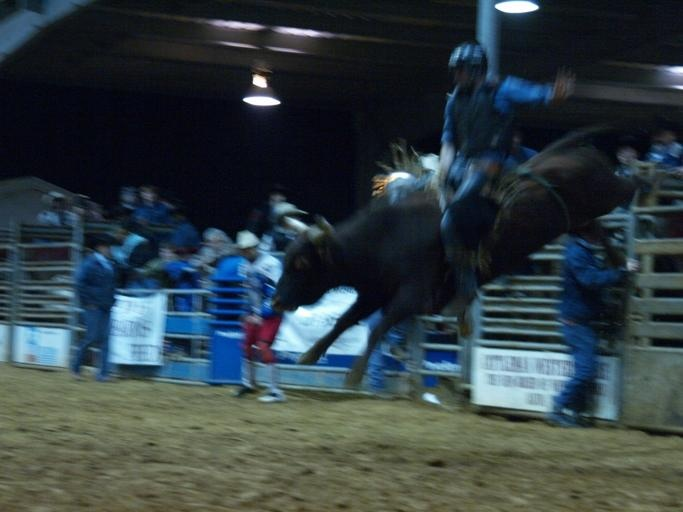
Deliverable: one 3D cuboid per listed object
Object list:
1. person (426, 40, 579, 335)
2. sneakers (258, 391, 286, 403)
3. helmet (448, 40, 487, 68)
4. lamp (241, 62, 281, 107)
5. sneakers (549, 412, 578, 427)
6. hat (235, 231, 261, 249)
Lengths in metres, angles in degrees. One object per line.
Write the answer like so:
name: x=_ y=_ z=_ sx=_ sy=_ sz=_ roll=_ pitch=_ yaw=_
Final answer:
person: x=1.161 y=-0.682 z=6.809 sx=0.703 sy=1.948 sz=0.738 roll=3 pitch=-9 yaw=4
sneakers: x=-0.683 y=1.410 z=8.379 sx=0.234 sy=0.067 sz=0.112 roll=5 pitch=-11 yaw=-19
helmet: x=1.011 y=-1.618 z=6.713 sx=0.251 sy=0.125 sz=0.221 roll=-8 pitch=11 yaw=-25
lamp: x=-0.566 y=-1.164 z=5.788 sx=0.220 sy=0.170 sz=0.192 roll=6 pitch=15 yaw=20
sneakers: x=1.964 y=1.456 z=7.543 sx=0.155 sy=0.119 sz=0.293 roll=7 pitch=-8 yaw=-28
hat: x=-0.966 y=-0.168 z=8.742 sx=0.237 sy=0.208 sz=0.244 roll=4 pitch=-8 yaw=-5
